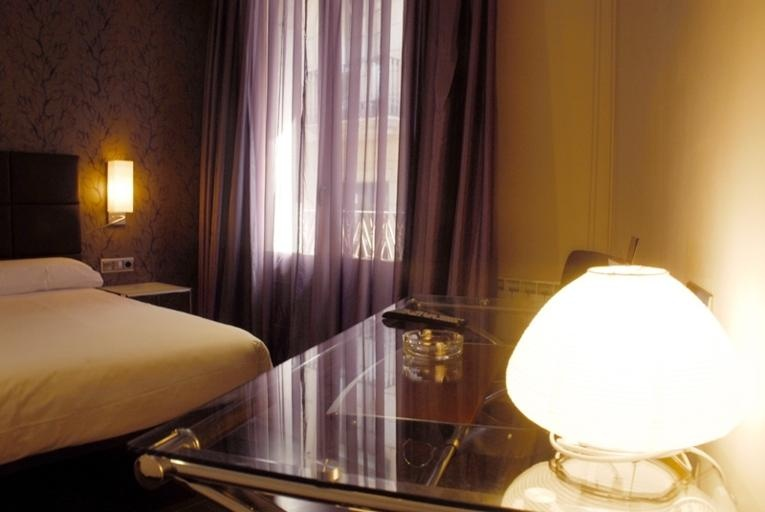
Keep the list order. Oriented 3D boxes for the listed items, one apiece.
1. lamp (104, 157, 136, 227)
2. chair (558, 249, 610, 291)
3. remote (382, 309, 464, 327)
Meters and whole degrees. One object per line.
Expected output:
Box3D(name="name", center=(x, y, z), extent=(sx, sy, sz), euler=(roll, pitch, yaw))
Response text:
Box3D(name="lamp", center=(-1.841, -0.431, 4.244), extent=(0.179, 0.474, 0.151), euler=(1, 26, -23))
Box3D(name="chair", center=(0.835, 0.042, 2.514), extent=(0.181, 0.193, 0.194), euler=(2, -2, 5))
Box3D(name="remote", center=(0.152, 0.220, 2.198), extent=(0.195, 0.045, 0.115), euler=(5, 2, 23))
